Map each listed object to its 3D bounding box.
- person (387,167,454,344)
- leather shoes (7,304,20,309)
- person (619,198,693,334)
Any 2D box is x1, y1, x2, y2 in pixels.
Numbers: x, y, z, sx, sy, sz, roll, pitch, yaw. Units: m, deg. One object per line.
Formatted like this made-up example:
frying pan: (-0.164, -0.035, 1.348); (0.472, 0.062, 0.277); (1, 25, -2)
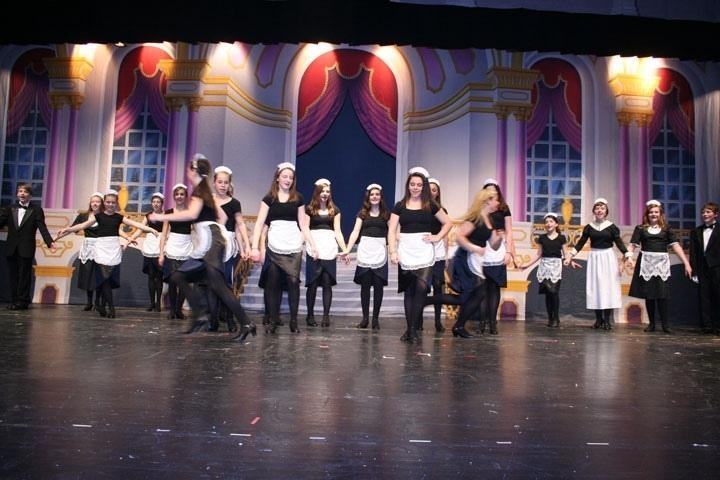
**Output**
person: (0.759, 0.180, 9.508); (0.770, 2.204, 0.498); (2, -4, 9)
leather shoes: (-5.842, 1.139, 12.601); (0.101, 0.094, 0.251); (-12, 4, -41)
person: (4.934, 0.431, 12.398); (0.848, 2.159, 0.403); (2, -4, 22)
